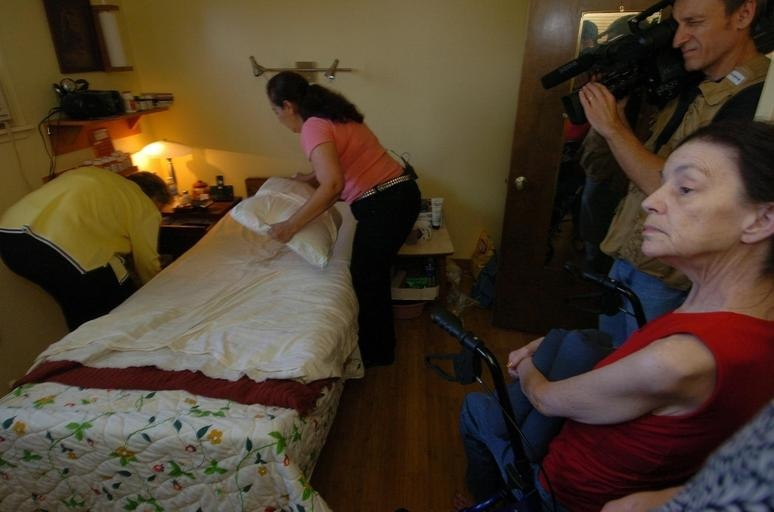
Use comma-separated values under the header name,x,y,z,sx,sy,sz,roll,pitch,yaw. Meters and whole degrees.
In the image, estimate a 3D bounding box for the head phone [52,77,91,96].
name,x,y,z,sx,sy,sz,roll,pitch,yaw
head phone,-1.931,-1.045,3.476,0.109,0.049,0.163,38,38,6

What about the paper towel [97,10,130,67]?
name,x,y,z,sx,sy,sz,roll,pitch,yaw
paper towel,-1.837,-1.455,3.796,0.135,0.405,0.177,-14,26,-22

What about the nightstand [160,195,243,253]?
name,x,y,z,sx,sy,sz,roll,pitch,yaw
nightstand,-1.359,-0.225,4.050,0.298,0.265,0.406,-1,24,4

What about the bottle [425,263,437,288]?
name,x,y,z,sx,sy,sz,roll,pitch,yaw
bottle,0.299,0.122,3.820,0.071,0.159,0.056,-2,24,4

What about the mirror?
name,x,y,z,sx,sy,sz,roll,pitch,yaw
mirror,1.052,-0.624,2.776,0.530,0.424,1.267,13,-15,13

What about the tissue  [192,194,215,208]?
name,x,y,z,sx,sy,sz,roll,pitch,yaw
tissue ,-1.332,-0.394,4.093,0.114,0.029,0.117,-5,43,-21

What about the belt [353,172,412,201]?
name,x,y,z,sx,sy,sz,roll,pitch,yaw
belt,-0.014,-0.396,3.274,0.208,0.063,0.178,-32,0,-2

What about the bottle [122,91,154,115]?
name,x,y,z,sx,sy,sz,roll,pitch,yaw
bottle,-1.655,-1.033,3.789,0.144,0.133,0.270,-7,24,-9

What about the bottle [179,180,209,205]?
name,x,y,z,sx,sy,sz,roll,pitch,yaw
bottle,-1.398,-0.450,4.183,0.207,0.218,0.218,7,10,35

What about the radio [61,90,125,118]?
name,x,y,z,sx,sy,sz,roll,pitch,yaw
radio,-1.814,-0.942,3.523,0.372,0.166,0.198,-17,27,-29

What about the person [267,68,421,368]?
name,x,y,z,sx,sy,sz,roll,pitch,yaw
person,-0.335,-0.177,3.490,1.082,1.796,0.808,6,26,26

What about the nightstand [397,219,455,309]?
name,x,y,z,sx,sy,sz,roll,pitch,yaw
nightstand,0.260,0.046,4.006,0.425,0.338,0.552,0,35,6
